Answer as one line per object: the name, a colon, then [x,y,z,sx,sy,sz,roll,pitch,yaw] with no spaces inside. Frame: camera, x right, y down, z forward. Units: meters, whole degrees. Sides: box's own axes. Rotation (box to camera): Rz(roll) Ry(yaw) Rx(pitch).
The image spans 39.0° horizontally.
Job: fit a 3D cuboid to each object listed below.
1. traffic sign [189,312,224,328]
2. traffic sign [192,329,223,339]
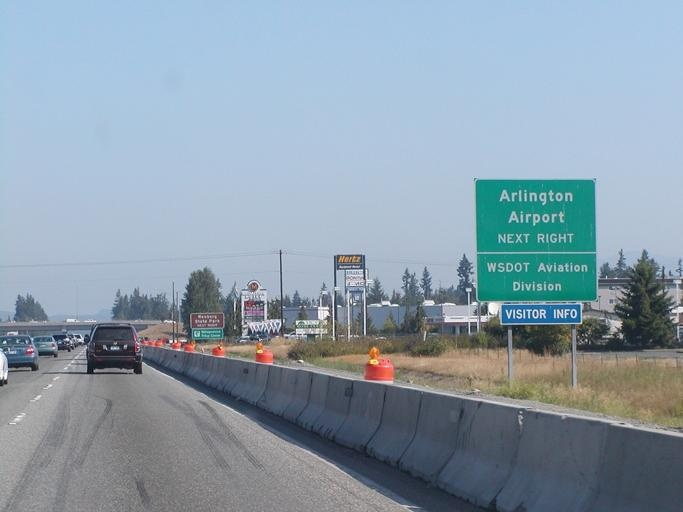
traffic sign: [-10.617,5.079,76.085,2.302,1.313,0.039,-1,12,-1]
traffic sign: [-10.456,5.987,74.919,2.230,0.807,1.520,-1,-5,-17]
